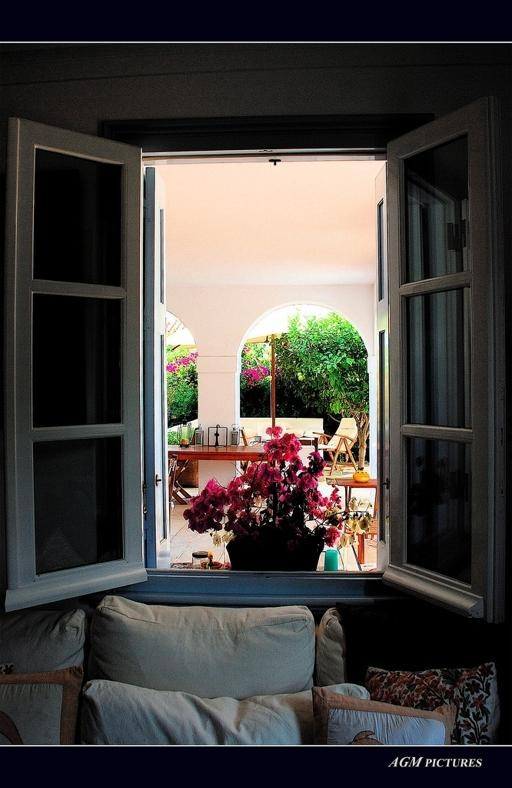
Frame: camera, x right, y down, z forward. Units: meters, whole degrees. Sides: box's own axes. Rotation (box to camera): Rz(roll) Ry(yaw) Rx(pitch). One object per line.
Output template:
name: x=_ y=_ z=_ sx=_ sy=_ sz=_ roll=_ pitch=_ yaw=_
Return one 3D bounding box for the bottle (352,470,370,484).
bottle: x=0.763 y=0.595 z=4.523 sx=0.078 sy=0.074 sz=0.082 roll=-4 pitch=7 yaw=-25

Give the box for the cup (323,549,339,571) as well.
cup: x=0.276 y=0.607 z=2.331 sx=0.051 sy=0.082 sz=0.076 roll=0 pitch=2 yaw=2

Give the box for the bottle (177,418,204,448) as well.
bottle: x=-0.711 y=0.412 z=6.678 sx=0.256 sy=0.360 sz=0.256 roll=-1 pitch=1 yaw=0

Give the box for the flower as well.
flower: x=0.080 y=0.321 z=2.225 sx=0.642 sy=0.421 sz=0.277 roll=0 pitch=2 yaw=4
